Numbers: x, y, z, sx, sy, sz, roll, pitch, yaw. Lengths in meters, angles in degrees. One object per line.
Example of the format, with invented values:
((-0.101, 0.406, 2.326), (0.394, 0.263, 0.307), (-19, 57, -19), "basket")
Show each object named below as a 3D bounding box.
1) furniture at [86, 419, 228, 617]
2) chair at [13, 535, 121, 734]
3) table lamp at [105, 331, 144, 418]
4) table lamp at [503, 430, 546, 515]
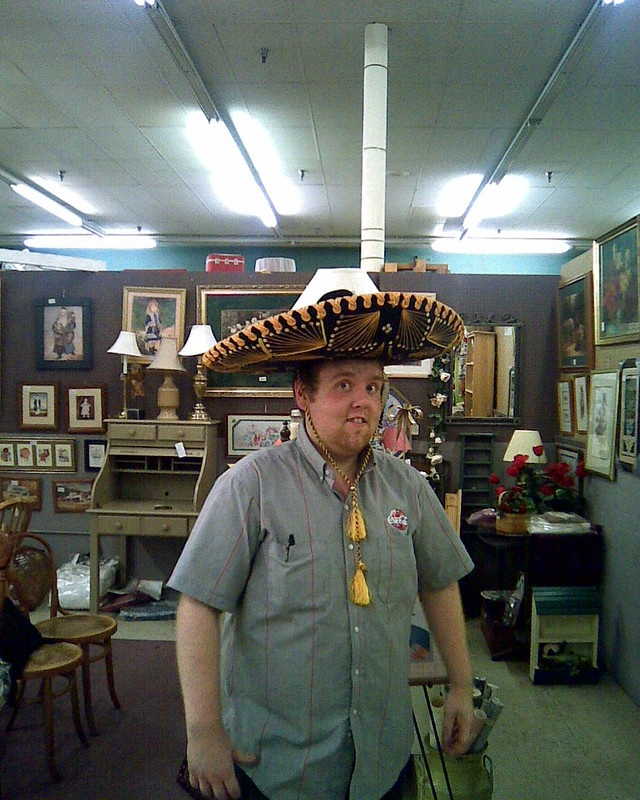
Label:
((-1.314, 0.878, 5.333), (0.822, 1.397, 0.774), (3, 4, 3), "furniture")
((-1.338, 1.197, 3.578), (0.488, 0.974, 0.448), (-3, 0, -16), "chair")
((-1.571, -0.208, 5.439), (0.246, 0.680, 0.515), (0, 3, -16), "table lamp")
((1.512, 0.458, 5.165), (0.300, 0.525, 0.282), (-11, 25, -31), "table lamp")
